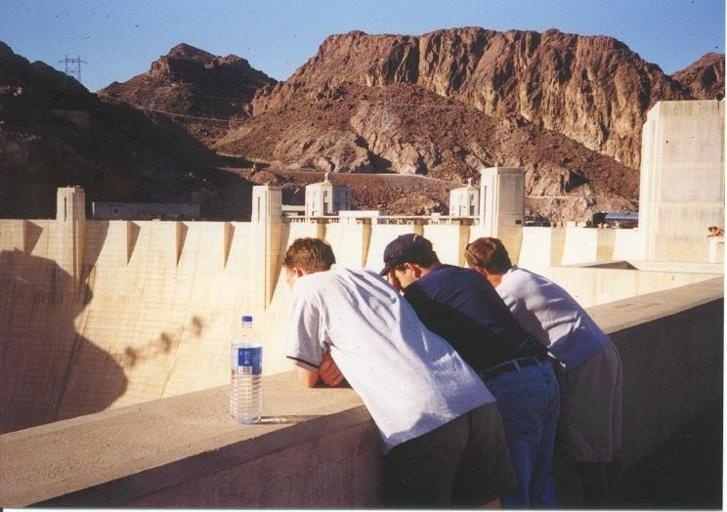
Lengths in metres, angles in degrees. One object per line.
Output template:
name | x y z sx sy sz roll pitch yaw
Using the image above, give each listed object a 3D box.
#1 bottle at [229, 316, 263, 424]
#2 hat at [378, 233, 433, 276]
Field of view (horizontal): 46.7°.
bottle | -1.274 1.229 9.138 0.357 1.138 0.340 1 -3 0
hat | 0.499 -0.019 9.630 0.520 0.331 0.410 -4 0 6
